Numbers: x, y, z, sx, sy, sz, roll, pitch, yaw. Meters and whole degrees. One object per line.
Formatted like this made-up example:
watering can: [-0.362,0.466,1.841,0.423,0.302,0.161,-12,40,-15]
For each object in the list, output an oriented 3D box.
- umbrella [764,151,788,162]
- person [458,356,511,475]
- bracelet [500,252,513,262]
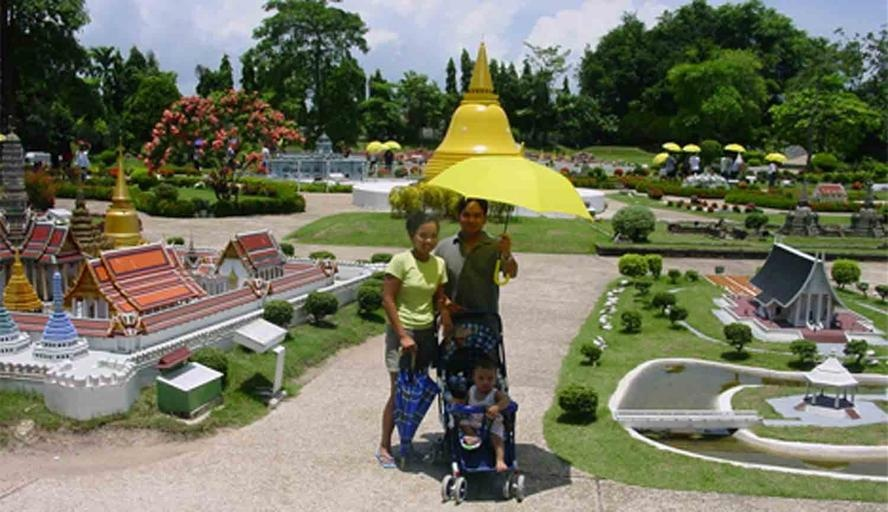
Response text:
umbrella: [28.392,-8.403,78.353,2.029,0.641,2.023,6,13,31]
person: [1.254,4.797,27.709,1.441,3.172,1.081,3,11,7]
bracelet: [1.928,0.043,28.243,0.248,0.175,0.243,-9,16,-32]
